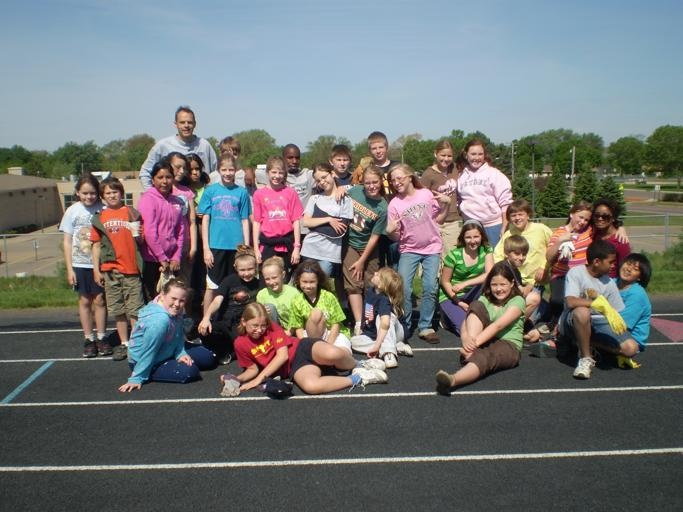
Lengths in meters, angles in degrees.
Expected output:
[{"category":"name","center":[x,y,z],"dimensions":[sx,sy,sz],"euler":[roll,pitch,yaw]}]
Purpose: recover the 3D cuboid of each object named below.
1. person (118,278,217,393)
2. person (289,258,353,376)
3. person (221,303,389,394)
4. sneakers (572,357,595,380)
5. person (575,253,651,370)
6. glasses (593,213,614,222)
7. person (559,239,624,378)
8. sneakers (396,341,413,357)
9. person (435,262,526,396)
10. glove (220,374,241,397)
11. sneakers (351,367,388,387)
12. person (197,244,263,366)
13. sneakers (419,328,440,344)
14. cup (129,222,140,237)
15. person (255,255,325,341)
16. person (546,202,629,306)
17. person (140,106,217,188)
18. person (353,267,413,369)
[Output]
[{"category":"person","center":[-2.165,0.957,8.720],"dimensions":[1.064,1.175,1.664],"euler":[8,8,32]},{"category":"person","center":[-0.278,0.768,8.844],"dimensions":[0.856,1.183,1.119],"euler":[-11,16,-27]},{"category":"person","center":[-0.528,1.226,8.447],"dimensions":[1.483,0.809,1.239],"euler":[8,28,27]},{"category":"sneakers","center":[3.054,1.398,8.780],"dimensions":[0.181,0.240,0.396],"euler":[4,12,32]},{"category":"person","center":[3.581,0.589,9.308],"dimensions":[1.045,1.371,0.853],"euler":[10,19,44]},{"category":"glasses","center":[3.701,-0.550,9.859],"dimensions":[0.258,0.104,0.132],"euler":[2,11,20]},{"category":"person","center":[3.277,0.640,8.985],"dimensions":[0.827,1.683,1.052],"euler":[6,1,22]},{"category":"sneakers","center":[0.866,1.273,9.538],"dimensions":[0.127,0.131,0.282],"euler":[-10,7,-15]},{"category":"person","center":[1.790,0.847,8.774],"dimensions":[0.560,1.390,1.479],"euler":[7,14,43]},{"category":"glove","center":[-1.344,1.545,8.454],"dimensions":[0.236,0.223,0.259],"euler":[-4,10,-9]},{"category":"sneakers","center":[0.363,1.461,8.627],"dimensions":[0.486,0.184,0.214],"euler":[0,20,7]},{"category":"person","center":[-1.385,0.639,9.286],"dimensions":[0.894,1.401,0.789],"euler":[7,14,-3]},{"category":"sneakers","center":[1.287,1.168,10.179],"dimensions":[0.144,0.113,0.282],"euler":[-4,3,-23]},{"category":"cup","center":[-2.762,-0.362,9.314],"dimensions":[0.182,0.187,0.148],"euler":[2,-3,-36]},{"category":"person","center":[-0.791,0.567,9.000],"dimensions":[0.678,0.986,0.768],"euler":[-15,18,-27]},{"category":"person","center":[3.443,-0.113,10.110],"dimensions":[1.073,1.415,0.848],"euler":[0,5,-11]},{"category":"person","center":[-2.503,-1.630,11.068],"dimensions":[1.427,1.303,0.748],"euler":[-6,12,-31]},{"category":"person","center":[0.525,0.769,9.347],"dimensions":[0.691,1.202,1.195],"euler":[-5,4,-22]}]
